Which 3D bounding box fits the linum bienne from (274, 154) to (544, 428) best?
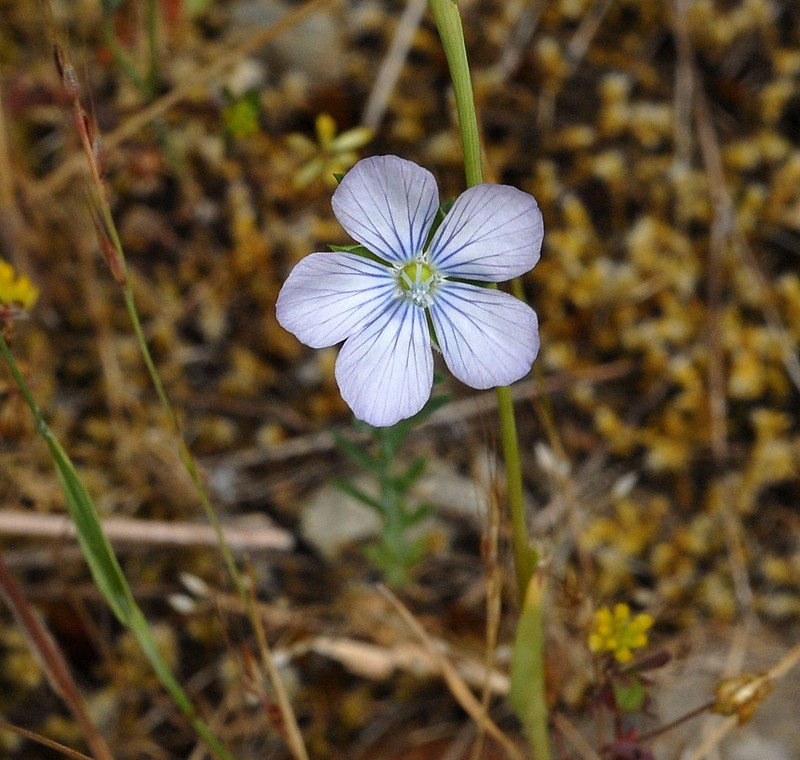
[{"bbox_3d":[0.042,-0.190,2.183,0.607,0.141,0.567,1,104,11],"label":"linum bienne"}]
